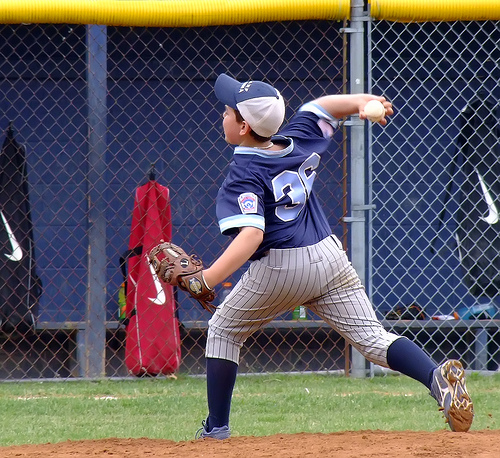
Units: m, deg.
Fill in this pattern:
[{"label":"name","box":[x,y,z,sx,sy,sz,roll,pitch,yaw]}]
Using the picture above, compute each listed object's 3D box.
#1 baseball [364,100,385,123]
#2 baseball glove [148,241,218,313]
[{"label":"baseball","box":[0.696,-0.662,6.851,0.113,0.120,0.078,1,2,8]},{"label":"baseball glove","box":[-0.359,0.253,6.613,0.249,0.183,0.520,-14,40,-28]}]
